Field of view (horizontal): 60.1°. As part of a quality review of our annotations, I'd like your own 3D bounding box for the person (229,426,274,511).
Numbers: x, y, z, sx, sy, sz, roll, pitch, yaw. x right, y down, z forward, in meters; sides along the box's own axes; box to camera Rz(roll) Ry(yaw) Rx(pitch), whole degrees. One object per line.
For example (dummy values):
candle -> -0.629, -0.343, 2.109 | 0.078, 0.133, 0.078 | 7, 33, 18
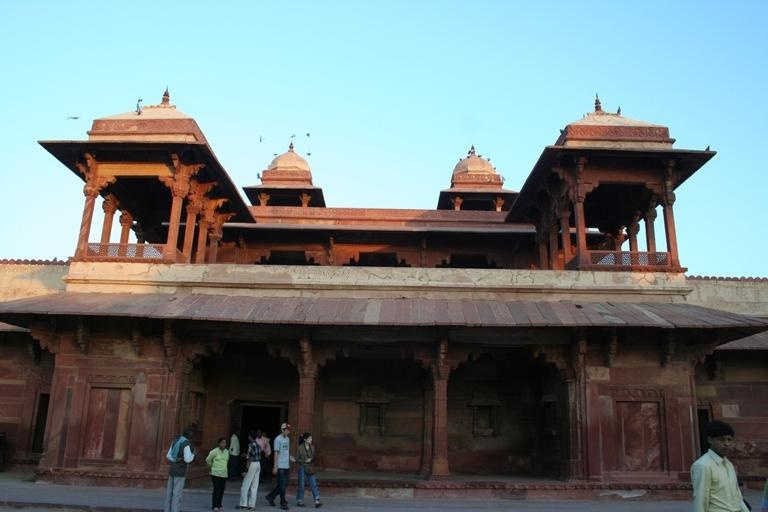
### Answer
person -> -3.328, 5.336, 16.774 | 0.663, 1.915, 1.562 | 5, -20, -10
